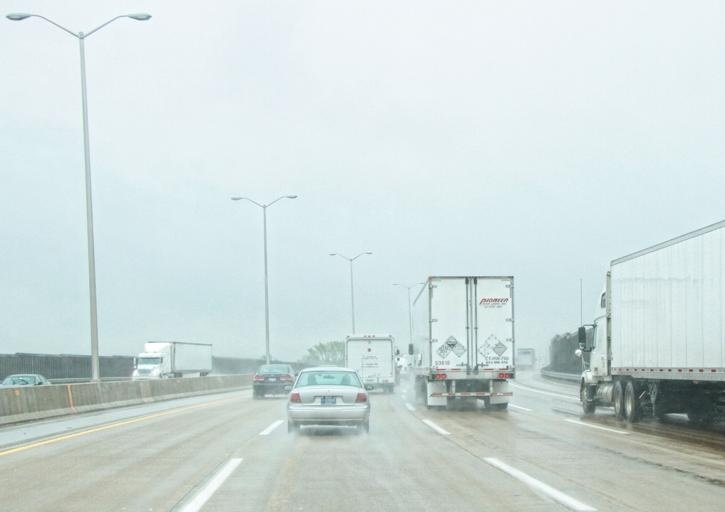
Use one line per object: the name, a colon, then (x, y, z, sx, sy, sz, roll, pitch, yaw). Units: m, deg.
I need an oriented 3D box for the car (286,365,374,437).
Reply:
car: (-0.971, 4.157, 24.267, 2.328, 2.272, 6.236, 0, -3, -2)

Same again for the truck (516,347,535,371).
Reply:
truck: (21.962, 14.035, 116.052, 2.322, 3.547, 9.305, -1, -13, 10)

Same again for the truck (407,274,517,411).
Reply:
truck: (3.719, 3.401, 33.780, 2.761, 4.686, 6.972, 0, -5, 1)
